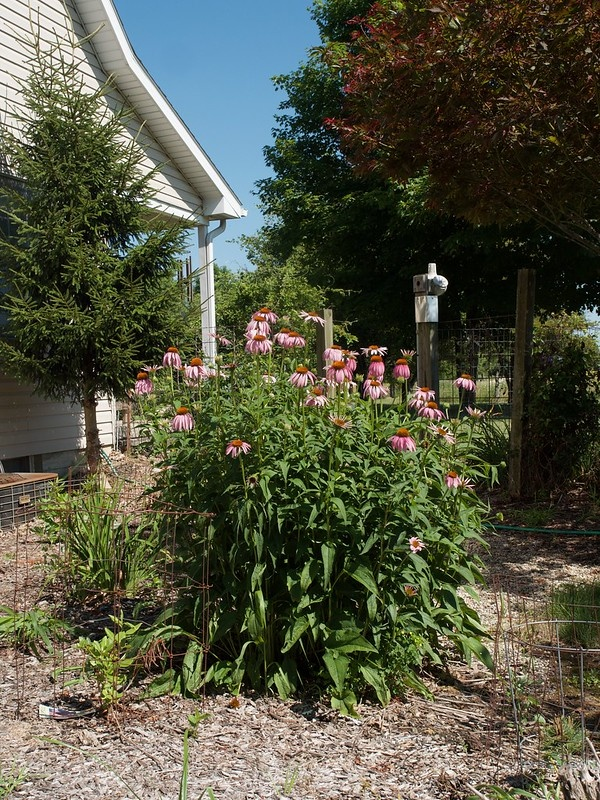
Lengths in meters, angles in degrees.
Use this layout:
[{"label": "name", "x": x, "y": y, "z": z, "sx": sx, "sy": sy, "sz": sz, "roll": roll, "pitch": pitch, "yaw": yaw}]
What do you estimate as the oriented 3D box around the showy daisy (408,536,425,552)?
[{"label": "showy daisy", "x": 0.462, "y": 0.578, "z": 2.741, "sx": 0.075, "sy": 0.028, "sz": 0.073, "roll": 2, "pitch": 29, "yaw": 6}]
